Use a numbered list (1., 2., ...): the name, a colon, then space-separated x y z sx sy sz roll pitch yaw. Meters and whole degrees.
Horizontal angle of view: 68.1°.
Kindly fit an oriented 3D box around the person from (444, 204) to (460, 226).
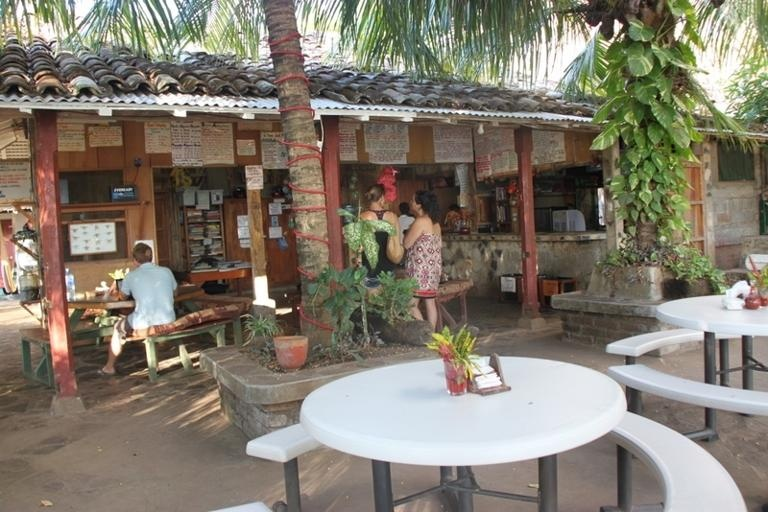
1. person: 1.666 -0.955 13.558 0.292 0.532 0.699 -4 13 0

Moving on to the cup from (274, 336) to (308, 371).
1. cup: -0.923 0.998 5.896 0.359 0.275 0.328 2 -2 0

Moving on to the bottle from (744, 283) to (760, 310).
1. bottle: 3.508 0.389 5.408 0.136 0.201 0.123 3 15 26
